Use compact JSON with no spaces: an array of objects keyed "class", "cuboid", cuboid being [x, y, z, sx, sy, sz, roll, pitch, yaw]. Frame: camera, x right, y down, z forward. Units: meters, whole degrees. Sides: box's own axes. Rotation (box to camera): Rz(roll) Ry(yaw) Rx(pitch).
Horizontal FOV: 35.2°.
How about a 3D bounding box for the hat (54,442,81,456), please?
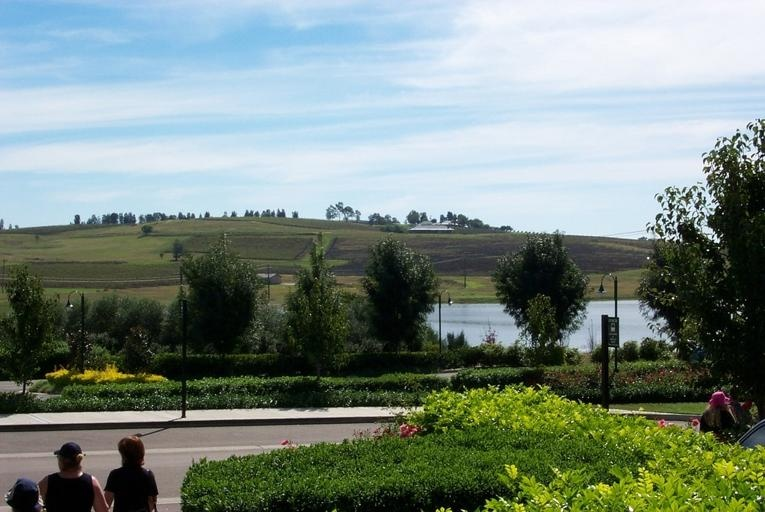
[{"class":"hat","cuboid":[-9.189,5.743,35.439,0.700,0.329,0.480,1,0,16]}]
